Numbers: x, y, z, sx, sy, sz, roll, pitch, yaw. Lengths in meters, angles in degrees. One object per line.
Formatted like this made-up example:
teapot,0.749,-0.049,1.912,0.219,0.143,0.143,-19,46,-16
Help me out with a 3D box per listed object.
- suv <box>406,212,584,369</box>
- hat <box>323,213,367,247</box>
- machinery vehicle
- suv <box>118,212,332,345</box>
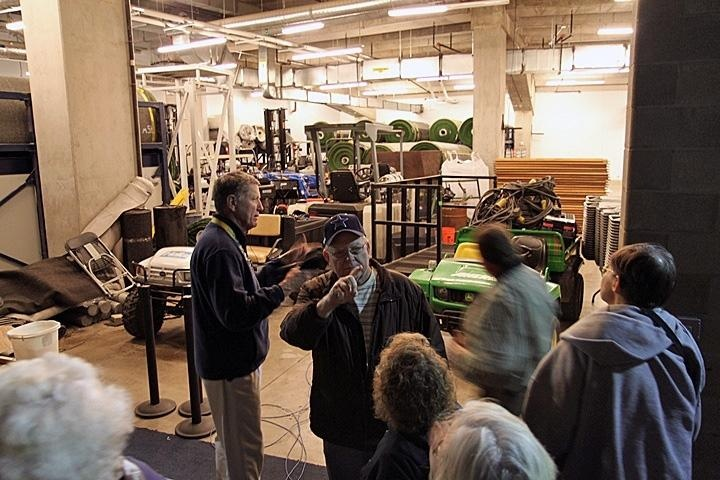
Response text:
suv,1.660,0.366,5.912,1.257,1.026,2.255,-1,2,26
hat,-0.096,-0.053,2.910,0.222,0.190,0.200,-1,13,-5
machinery vehicle,-0.209,-1.396,11.626,1.295,2.245,2.364,0,5,12
suv,-1.577,0.321,7.220,1.428,1.464,3.066,1,5,30
